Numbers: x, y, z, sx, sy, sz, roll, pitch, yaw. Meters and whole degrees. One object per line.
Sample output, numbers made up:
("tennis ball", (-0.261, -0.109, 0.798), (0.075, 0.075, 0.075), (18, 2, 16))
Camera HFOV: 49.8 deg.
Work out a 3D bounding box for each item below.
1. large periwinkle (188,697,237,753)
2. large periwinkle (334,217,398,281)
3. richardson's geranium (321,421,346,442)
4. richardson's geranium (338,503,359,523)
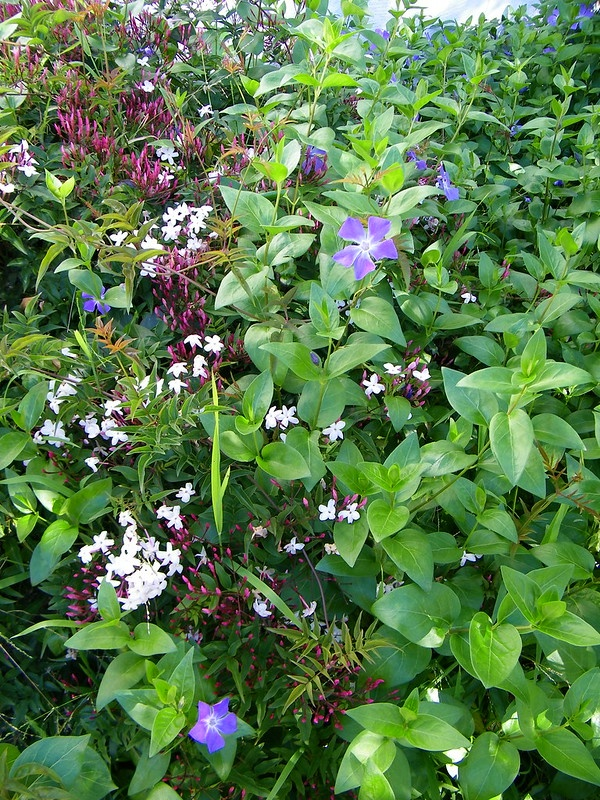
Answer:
("large periwinkle", (-0.214, 0.794, 1.599), (0.093, 0.097, 0.104), (26, 40, 31))
("large periwinkle", (0.191, -0.438, 1.837), (0.171, 0.201, 0.238), (8, 34, 8))
("richardson's geranium", (0.108, 0.104, 2.097), (0.078, 0.021, 0.068), (10, 75, 3))
("richardson's geranium", (0.145, 0.340, 1.931), (0.062, 0.080, 0.054), (3, 35, 0))
